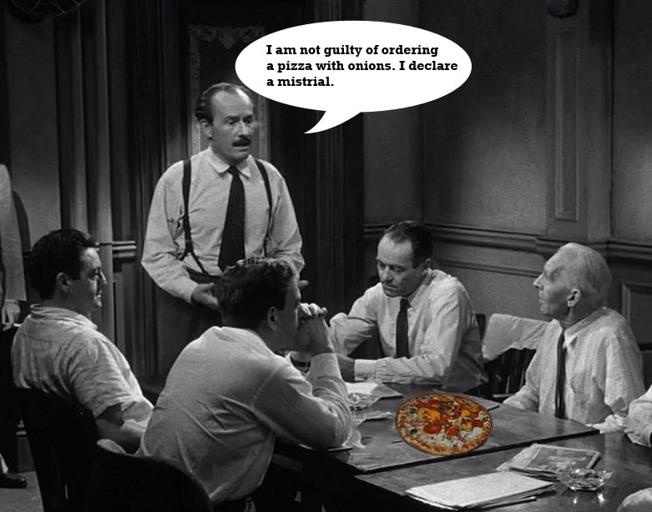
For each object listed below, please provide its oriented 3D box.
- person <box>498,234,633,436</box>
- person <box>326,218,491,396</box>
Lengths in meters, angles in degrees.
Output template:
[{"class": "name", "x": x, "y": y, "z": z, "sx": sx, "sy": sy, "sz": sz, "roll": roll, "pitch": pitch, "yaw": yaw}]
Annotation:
[{"class": "person", "x": 0.844, "y": 0.327, "z": 2.577, "sx": 0.458, "sy": 0.883, "sz": 0.865, "roll": 1, "pitch": -1, "yaw": 4}, {"class": "person", "x": 0.297, "y": 0.229, "z": 3.180, "sx": 0.617, "sy": 0.951, "sz": 0.755, "roll": -1, "pitch": 3, "yaw": 44}]
